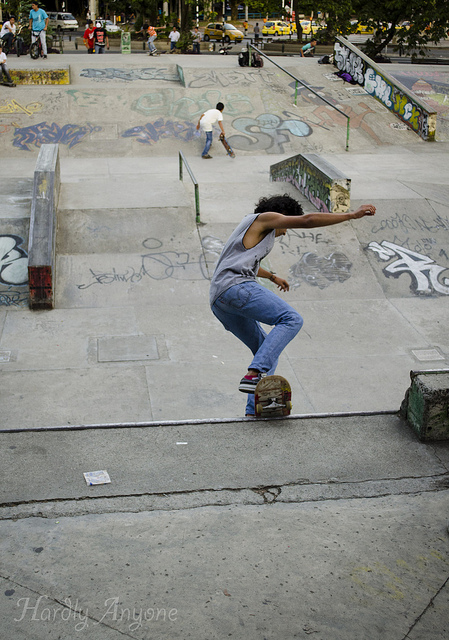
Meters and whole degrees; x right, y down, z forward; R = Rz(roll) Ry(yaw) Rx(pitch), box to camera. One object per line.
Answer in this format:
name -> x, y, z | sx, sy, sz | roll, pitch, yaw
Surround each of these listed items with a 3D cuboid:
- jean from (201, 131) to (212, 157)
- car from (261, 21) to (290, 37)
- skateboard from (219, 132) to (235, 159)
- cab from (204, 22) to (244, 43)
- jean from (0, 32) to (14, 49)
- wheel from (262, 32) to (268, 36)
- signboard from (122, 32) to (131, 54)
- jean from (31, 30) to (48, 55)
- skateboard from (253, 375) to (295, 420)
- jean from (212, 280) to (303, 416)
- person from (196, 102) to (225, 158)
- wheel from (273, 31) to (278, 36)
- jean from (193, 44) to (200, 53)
jean -> -0.511, -4.872, 14.082 | 0.250, 0.694, 0.403 | -1, 12, -10
car -> 4.837, -28.229, 49.194 | 1.483, 1.177, 2.454 | 10, 40, 17
skateboard -> 0.078, -4.869, 14.261 | 0.406, 0.727, 0.311 | -16, 40, 11
cab -> -0.187, -23.035, 40.691 | 2.936, 1.760, 1.633 | 2, 12, 2
jean -> -9.680, -12.455, 22.538 | 0.432, 0.780, 0.924 | -3, 13, -18
wheel -> 3.900, -27.763, 49.300 | 0.606, 0.319, 0.379 | 0, -13, 3
signboard -> -4.752, -13.259, 24.274 | 0.318, 0.706, 0.893 | -1, 12, -13
jean -> -8.076, -12.106, 22.007 | 0.544, 1.084, 0.684 | -5, -15, -7
skateboard -> 0.368, 0.593, 3.855 | 0.259, 0.103, 0.594 | 2, 8, 4
jean -> 0.204, 0.052, 3.777 | 0.469, 0.702, 0.578 | -6, 14, -32
person -> -0.421, -5.240, 14.069 | 0.660, 1.461, 0.883 | 1, 12, -5
wheel -> 4.969, -27.800, 49.151 | 0.278, 0.249, 0.276 | 3, 3, 0
jean -> -1.604, -14.914, 27.845 | 0.270, 0.464, 0.693 | 0, 12, -9
